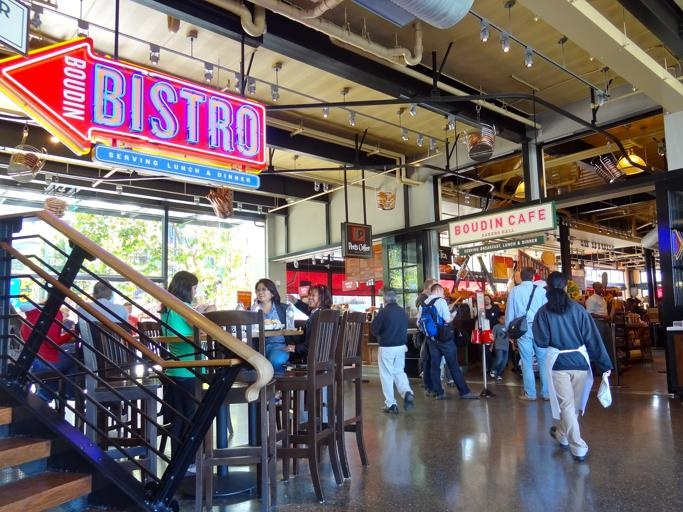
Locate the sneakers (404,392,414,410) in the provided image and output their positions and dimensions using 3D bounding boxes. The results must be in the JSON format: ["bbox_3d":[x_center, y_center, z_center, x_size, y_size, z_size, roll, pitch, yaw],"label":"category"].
[{"bbox_3d":[0.853,1.805,7.290,0.088,0.222,0.100,-1,-3,4],"label":"sneakers"}]

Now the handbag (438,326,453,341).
[{"bbox_3d":[1.417,1.052,7.922,0.197,0.179,0.100,4,-6,-39],"label":"handbag"}]

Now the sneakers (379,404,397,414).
[{"bbox_3d":[0.599,1.913,7.268,0.080,0.103,0.229,4,-6,-22],"label":"sneakers"}]

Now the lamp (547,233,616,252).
[{"bbox_3d":[7.815,-0.451,18.336,1.495,0.354,1.499,7,-10,-27],"label":"lamp"}]

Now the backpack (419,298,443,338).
[{"bbox_3d":[1.267,0.866,8.126,0.323,0.539,0.372,-4,-6,-38],"label":"backpack"}]

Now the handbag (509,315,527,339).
[{"bbox_3d":[2.321,0.921,7.587,0.119,0.184,0.262,30,-15,17],"label":"handbag"}]

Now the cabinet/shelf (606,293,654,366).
[{"bbox_3d":[5.965,1.539,11.923,0.791,1.571,1.658,-3,-6,31],"label":"cabinet/shelf"}]

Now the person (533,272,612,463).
[{"bbox_3d":[2.123,0.962,5.344,0.524,1.147,0.517,-1,-1,-28],"label":"person"}]

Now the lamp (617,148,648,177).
[{"bbox_3d":[4.684,-1.472,9.289,0.483,0.504,0.466,-2,3,-32],"label":"lamp"}]

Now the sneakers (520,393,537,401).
[{"bbox_3d":[2.482,1.865,7.696,0.083,0.095,0.219,3,-4,-28],"label":"sneakers"}]

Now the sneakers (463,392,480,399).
[{"bbox_3d":[1.767,1.906,7.959,0.246,0.118,0.097,-1,-7,-3],"label":"sneakers"}]
